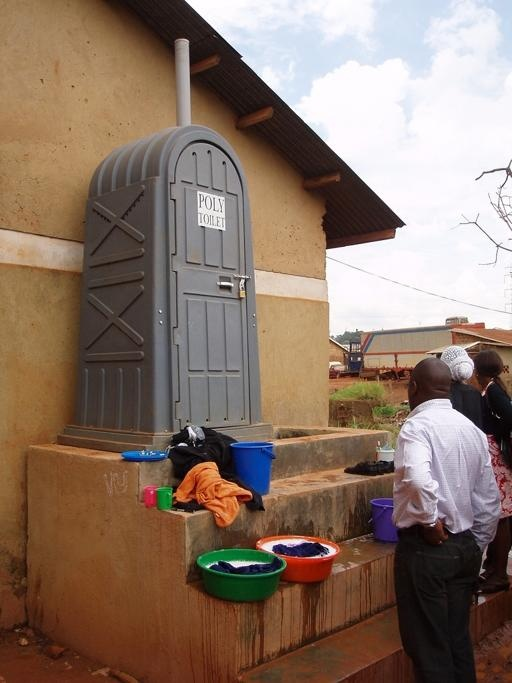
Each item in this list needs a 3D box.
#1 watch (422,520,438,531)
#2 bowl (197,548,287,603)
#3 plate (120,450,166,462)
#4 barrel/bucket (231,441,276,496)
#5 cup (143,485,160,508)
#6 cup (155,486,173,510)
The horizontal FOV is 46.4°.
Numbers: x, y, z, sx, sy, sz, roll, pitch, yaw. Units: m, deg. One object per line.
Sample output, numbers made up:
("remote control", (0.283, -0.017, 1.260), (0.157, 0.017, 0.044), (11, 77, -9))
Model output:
("watch", (0.762, 0.800, 2.599), (0.059, 0.044, 0.049), (0, -3, 19))
("bowl", (-0.095, 1.262, 3.203), (0.497, 0.200, 0.525), (1, -2, 0))
("plate", (-0.731, 0.755, 3.887), (0.300, 0.062, 0.253), (1, -2, -7))
("barrel/bucket", (-0.012, 0.860, 4.084), (0.383, 0.348, 0.327), (-1, -10, 0))
("cup", (-0.642, 0.943, 3.617), (0.101, 0.100, 0.117), (2, 0, -7))
("cup", (-0.542, 0.934, 3.537), (0.103, 0.120, 0.127), (4, -3, -19))
